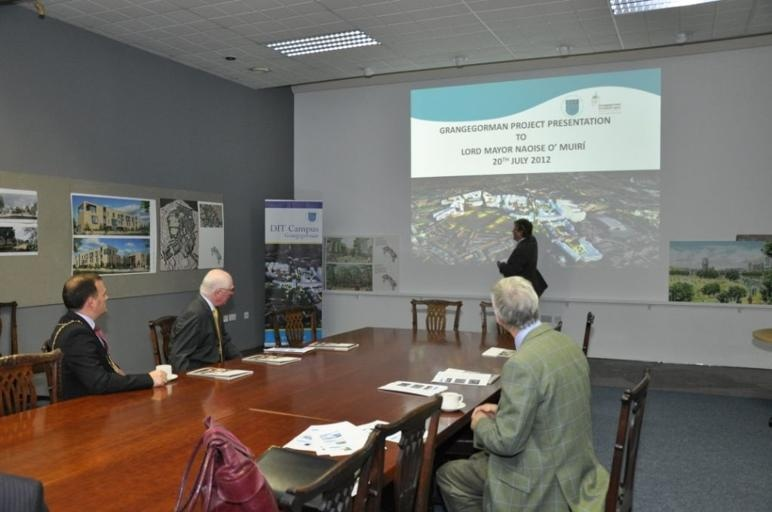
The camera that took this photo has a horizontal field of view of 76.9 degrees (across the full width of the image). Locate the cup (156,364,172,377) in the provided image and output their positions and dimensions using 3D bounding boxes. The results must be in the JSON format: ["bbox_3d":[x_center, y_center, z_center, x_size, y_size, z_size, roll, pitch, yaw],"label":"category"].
[{"bbox_3d":[-1.611,0.807,3.508,0.097,0.078,0.102,2,5,0],"label":"cup"}]
